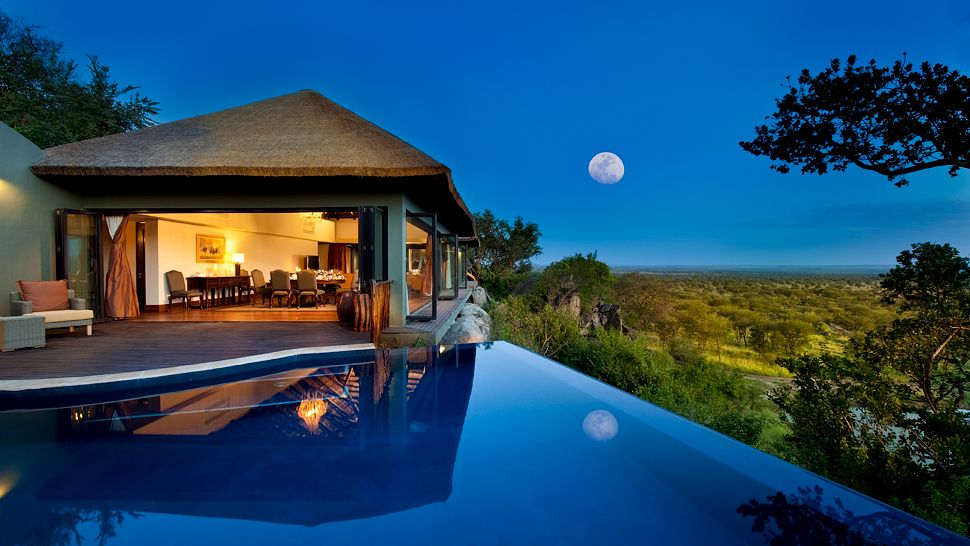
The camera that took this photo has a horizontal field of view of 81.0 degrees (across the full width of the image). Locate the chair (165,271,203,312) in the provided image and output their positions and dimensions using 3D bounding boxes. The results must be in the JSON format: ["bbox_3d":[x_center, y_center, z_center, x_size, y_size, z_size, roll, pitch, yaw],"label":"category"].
[{"bbox_3d":[-16.665,0.936,31.449,1.617,2.097,1.369,-1,1,-43],"label":"chair"}]

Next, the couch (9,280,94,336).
[{"bbox_3d":[-21.332,1.772,28.125,3.220,2.656,3.307,-1,1,-38],"label":"couch"}]

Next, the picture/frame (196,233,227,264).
[{"bbox_3d":[-15.627,-1.337,32.361,0.165,1.712,1.702,1,0,41],"label":"picture/frame"}]

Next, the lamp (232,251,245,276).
[{"bbox_3d":[-14.307,-0.506,33.139,0.604,1.319,0.842,0,1,-22],"label":"lamp"}]
